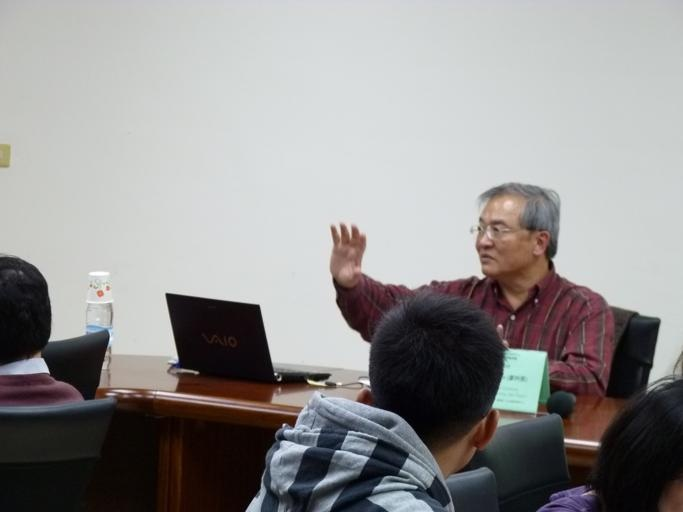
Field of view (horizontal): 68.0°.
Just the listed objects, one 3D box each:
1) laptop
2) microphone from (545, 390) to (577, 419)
[{"bbox_3d":[-0.402,0.241,1.808,0.366,0.248,0.371,2,0,34],"label":"laptop"},{"bbox_3d":[0.690,0.462,1.574,0.053,0.056,0.122,-2,-5,20],"label":"microphone"}]
